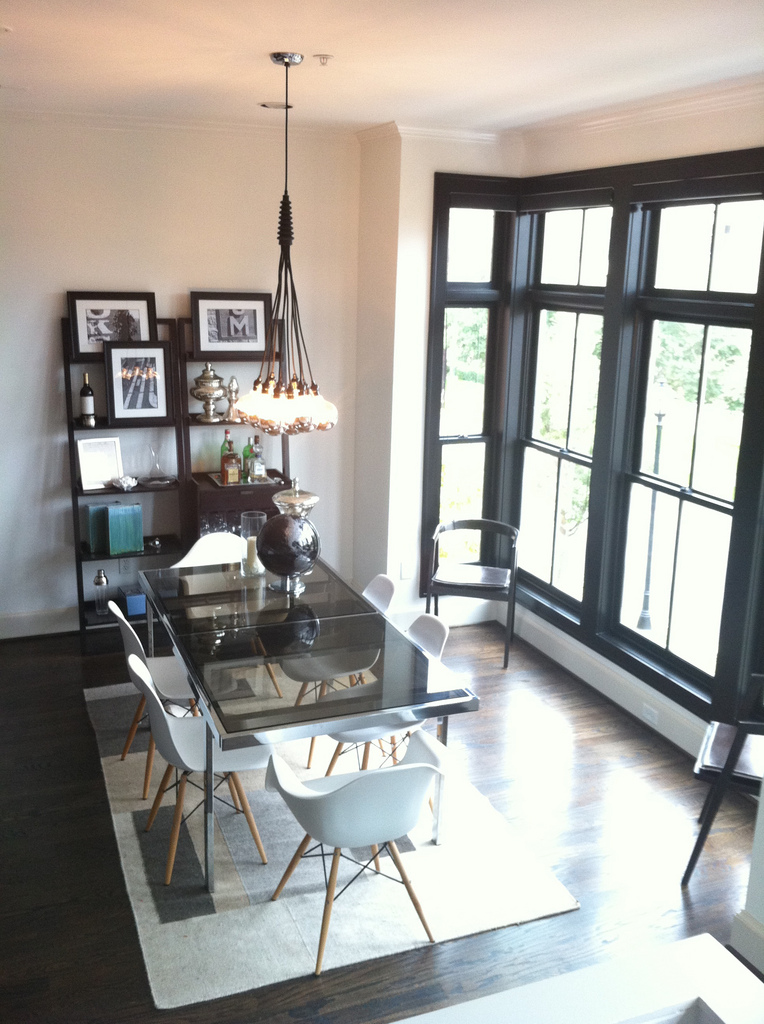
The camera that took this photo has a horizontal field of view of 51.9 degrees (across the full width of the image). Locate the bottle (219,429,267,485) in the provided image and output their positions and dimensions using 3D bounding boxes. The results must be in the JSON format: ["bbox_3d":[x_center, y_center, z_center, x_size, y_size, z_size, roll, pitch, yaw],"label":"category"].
[{"bbox_3d":[-0.902,-0.343,4.966,0.295,0.437,0.152,-7,21,-24],"label":"bottle"}]

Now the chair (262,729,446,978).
[{"bbox_3d":[-0.081,1.013,2.485,0.514,0.702,0.526,-4,13,-33],"label":"chair"}]

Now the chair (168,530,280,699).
[{"bbox_3d":[-0.823,0.439,4.001,0.571,0.765,0.551,0,9,-6],"label":"chair"}]

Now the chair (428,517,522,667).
[{"bbox_3d":[0.556,0.475,4.843,0.523,0.796,0.569,5,12,15],"label":"chair"}]

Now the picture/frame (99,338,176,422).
[{"bbox_3d":[-1.494,-0.810,4.733,0.457,0.606,0.044,-6,17,-23],"label":"picture/frame"}]

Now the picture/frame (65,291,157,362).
[{"bbox_3d":[-1.640,-1.102,4.644,0.417,0.322,0.031,-8,13,-24],"label":"picture/frame"}]

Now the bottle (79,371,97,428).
[{"bbox_3d":[-1.775,-0.666,4.693,0.095,0.309,0.233,-2,11,-20],"label":"bottle"}]
